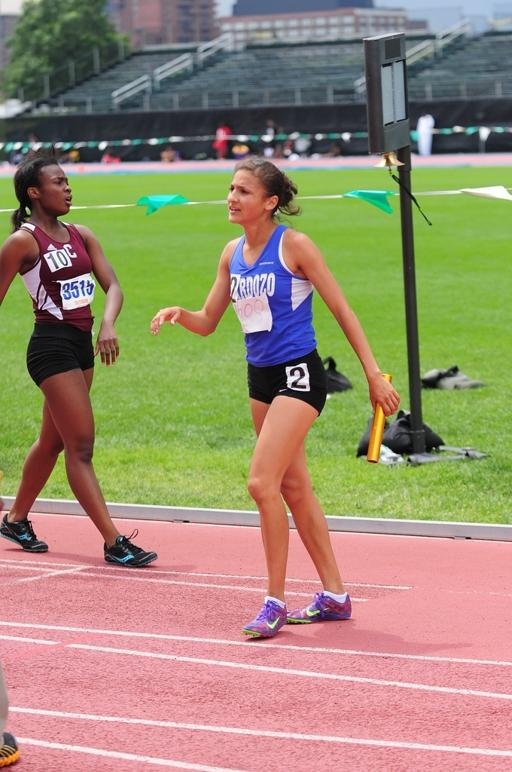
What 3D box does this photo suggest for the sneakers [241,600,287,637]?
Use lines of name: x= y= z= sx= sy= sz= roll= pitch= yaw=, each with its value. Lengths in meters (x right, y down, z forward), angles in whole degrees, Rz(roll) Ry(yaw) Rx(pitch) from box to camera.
sneakers: x=0.052 y=0.847 z=3.251 sx=0.085 sy=0.108 sz=0.231 roll=6 pitch=7 yaw=35

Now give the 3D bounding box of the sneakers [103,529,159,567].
sneakers: x=-0.616 y=0.795 z=4.316 sx=0.328 sy=0.134 sz=0.116 roll=1 pitch=11 yaw=34

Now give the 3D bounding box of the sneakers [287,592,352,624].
sneakers: x=0.261 y=0.861 z=3.414 sx=0.311 sy=0.112 sz=0.102 roll=0 pitch=-4 yaw=-6

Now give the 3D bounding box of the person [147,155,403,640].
person: x=0.051 y=0.016 z=3.426 sx=0.755 sy=1.801 sz=0.647 roll=-3 pitch=5 yaw=-14

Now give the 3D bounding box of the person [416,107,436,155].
person: x=7.105 y=-10.523 z=36.924 sx=0.619 sy=1.780 sz=1.198 roll=0 pitch=5 yaw=12
